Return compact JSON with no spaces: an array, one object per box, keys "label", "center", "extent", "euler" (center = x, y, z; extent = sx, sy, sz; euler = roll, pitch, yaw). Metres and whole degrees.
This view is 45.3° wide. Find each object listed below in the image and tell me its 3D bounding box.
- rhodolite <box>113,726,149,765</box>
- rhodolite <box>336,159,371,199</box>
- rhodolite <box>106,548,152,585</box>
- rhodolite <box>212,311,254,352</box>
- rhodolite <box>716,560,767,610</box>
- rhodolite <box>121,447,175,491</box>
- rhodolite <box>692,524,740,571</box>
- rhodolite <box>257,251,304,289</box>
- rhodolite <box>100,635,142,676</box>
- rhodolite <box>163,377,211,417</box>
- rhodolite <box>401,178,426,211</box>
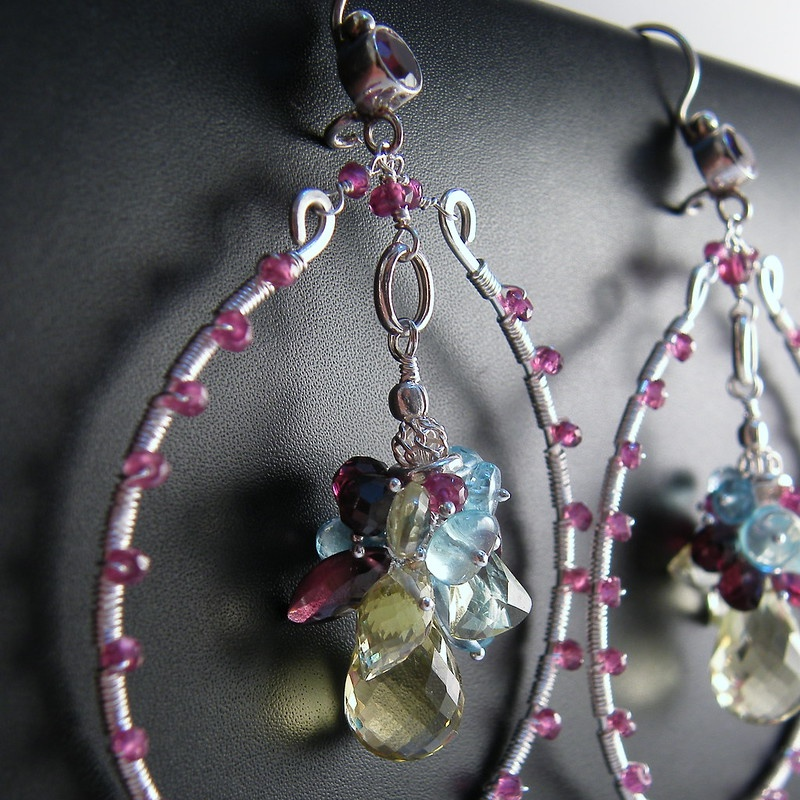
[{"label":"rhodolite","center":[-0.180,0.230,0.642],"extent":[0.020,0.018,0.023],"euler":[-5,77,-1]},{"label":"rhodolite","center":[-0.034,-0.168,0.729],"extent":[0.028,0.026,0.028],"euler":[0,95,5]},{"label":"rhodolite","center":[-0.177,0.107,0.619],"extent":[0.027,0.015,0.023],"euler":[10,77,2]},{"label":"rhodolite","center":[-0.114,-0.047,0.650],"extent":[0.028,0.014,0.023],"euler":[-29,82,-36]},{"label":"rhodolite","center":[0.322,0.175,0.916],"extent":[0.037,0.036,0.053],"euler":[6,87,-36]},{"label":"rhodolite","center":[-0.166,0.046,0.628],"extent":[0.027,0.016,0.026],"euler":[16,78,3]},{"label":"rhodolite","center":[0.297,0.143,0.923],"extent":[0.037,0.013,0.045],"euler":[14,83,25]},{"label":"rhodolite","center":[-0.084,-0.091,0.678],"extent":[0.024,0.028,0.021],"euler":[5,86,9]},{"label":"rhodolite","center":[-0.182,0.166,0.626],"extent":[0.024,0.018,0.022],"euler":[3,77,0]},{"label":"rhodolite","center":[-0.143,-0.002,0.636],"extent":[0.028,0.011,0.024],"euler":[32,79,7]},{"label":"rhodolite","center":[0.009,-0.164,0.762],"extent":[0.019,0.013,0.024],"euler":[-33,108,-24]}]
